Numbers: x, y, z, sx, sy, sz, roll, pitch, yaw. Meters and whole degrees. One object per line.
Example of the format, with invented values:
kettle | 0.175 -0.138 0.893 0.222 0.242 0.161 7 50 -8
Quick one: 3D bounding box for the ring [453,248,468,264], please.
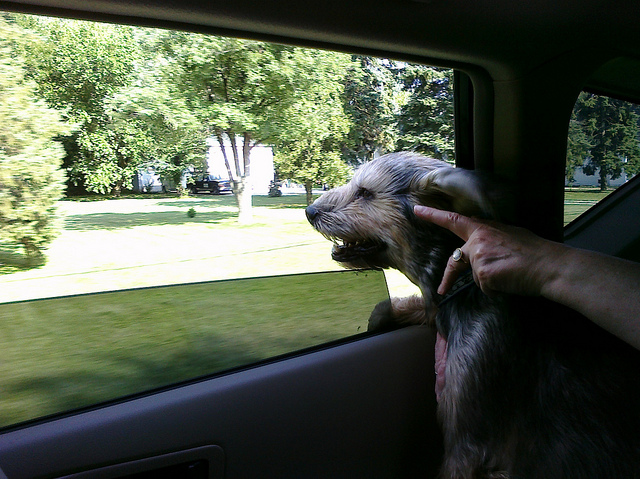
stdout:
ring | 0.486 0.057 1.475 0.048 0.052 0.024 2 10 9
